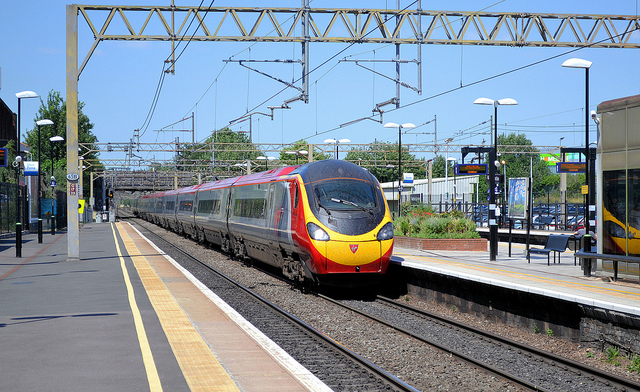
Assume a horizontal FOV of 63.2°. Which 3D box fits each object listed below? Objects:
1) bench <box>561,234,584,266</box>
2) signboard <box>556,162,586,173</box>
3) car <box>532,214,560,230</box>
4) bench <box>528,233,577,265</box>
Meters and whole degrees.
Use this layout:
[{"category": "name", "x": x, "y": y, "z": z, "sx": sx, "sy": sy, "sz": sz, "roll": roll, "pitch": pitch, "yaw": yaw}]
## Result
[{"category": "bench", "x": 11.230, "y": 2.393, "z": 23.189, "sx": 1.291, "sy": 1.254, "sz": 0.965, "roll": 0, "pitch": -6, "yaw": 1}, {"category": "signboard", "x": 11.624, "y": -1.359, "z": 24.141, "sx": 0.619, "sy": 0.454, "sz": 1.909, "roll": -1, "pitch": 1, "yaw": -3}, {"category": "car", "x": 17.499, "y": 2.080, "z": 40.527, "sx": 1.522, "sy": 1.266, "sz": 3.770, "roll": 0, "pitch": 1, "yaw": 20}, {"category": "bench", "x": 9.917, "y": 2.291, "z": 22.222, "sx": 1.538, "sy": 1.203, "sz": 1.404, "roll": 0, "pitch": -1, "yaw": -11}]
